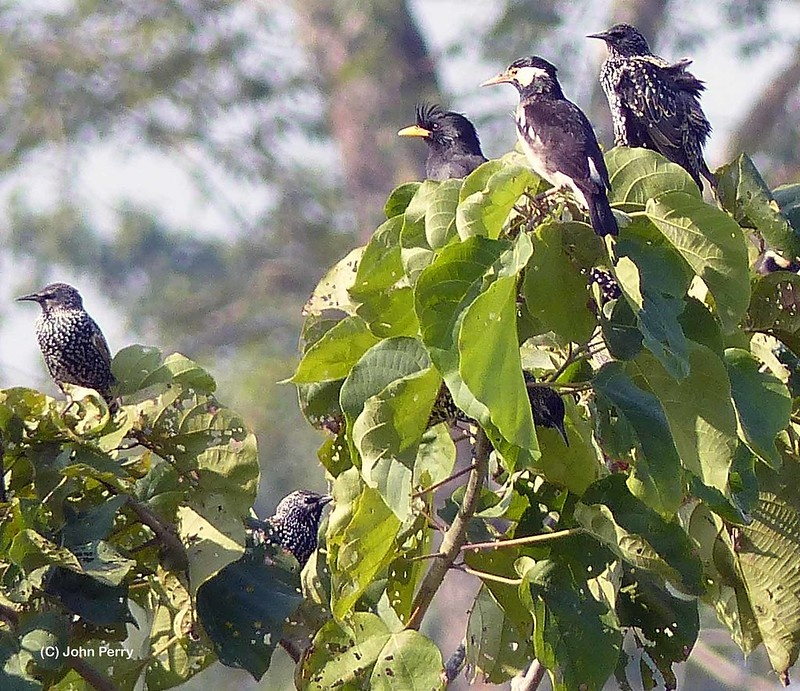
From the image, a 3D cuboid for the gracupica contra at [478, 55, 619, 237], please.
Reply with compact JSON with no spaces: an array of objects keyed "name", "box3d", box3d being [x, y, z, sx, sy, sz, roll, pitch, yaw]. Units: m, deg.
[{"name":"gracupica contra","box3d":[0.442,-0.531,4.077,0.160,0.520,0.346,-12,-60,-26]}]
